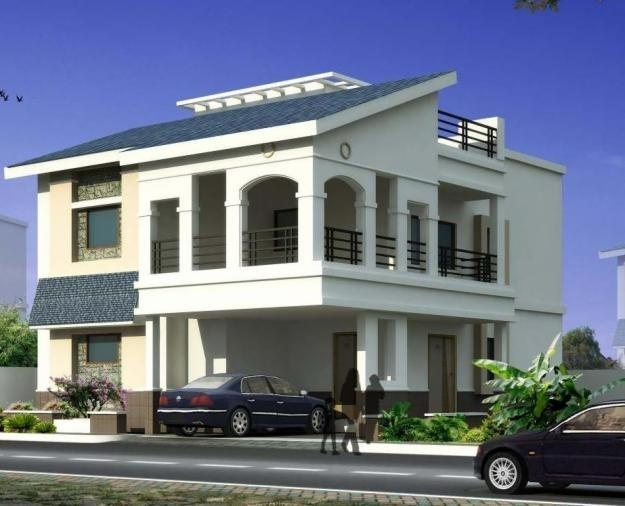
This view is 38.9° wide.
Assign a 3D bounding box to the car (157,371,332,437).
[{"bbox_3d":[-1.769,4.198,24.458,4.475,1.726,1.280,10,-16,-35],"label":"car"}]
